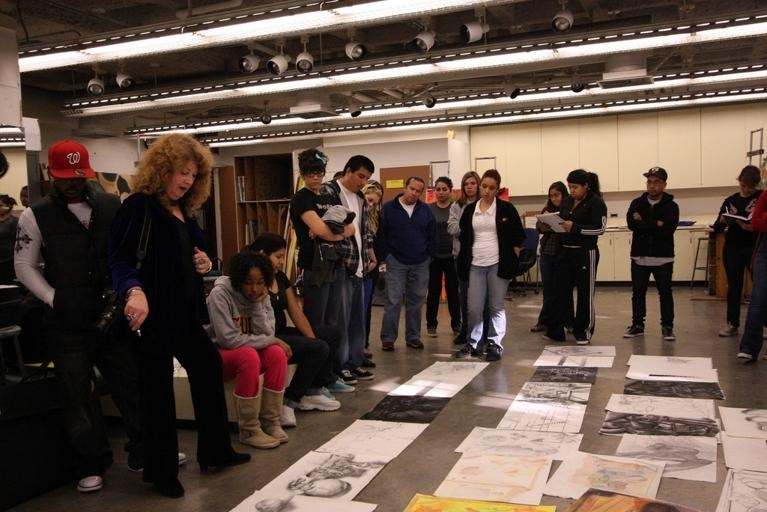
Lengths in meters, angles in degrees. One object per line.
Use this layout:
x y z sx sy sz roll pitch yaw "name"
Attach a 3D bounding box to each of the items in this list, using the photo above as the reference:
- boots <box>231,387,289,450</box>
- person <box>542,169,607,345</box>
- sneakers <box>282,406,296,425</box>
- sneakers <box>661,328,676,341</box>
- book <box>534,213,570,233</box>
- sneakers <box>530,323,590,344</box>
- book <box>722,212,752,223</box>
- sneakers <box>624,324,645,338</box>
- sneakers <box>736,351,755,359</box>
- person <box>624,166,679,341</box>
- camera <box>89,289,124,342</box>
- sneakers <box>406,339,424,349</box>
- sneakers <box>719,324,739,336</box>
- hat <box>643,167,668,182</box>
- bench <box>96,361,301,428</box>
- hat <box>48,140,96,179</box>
-0.907 1.210 4.482 0.437 0.386 0.378 -2 -1 28 "boots"
2.244 0.016 6.784 0.601 2.000 0.584 -7 10 -27 "person"
-0.757 1.253 4.631 0.097 0.148 0.150 -6 -33 -1 "sneakers"
3.273 0.894 6.769 0.128 0.104 0.190 0 9 14 "sneakers"
1.914 -0.372 6.595 0.271 0.071 0.272 36 -15 -29 "book"
2.092 0.928 6.933 0.553 0.221 0.183 8 5 21 "sneakers"
3.753 -0.413 6.276 0.203 0.057 0.184 1 5 -33 "book"
2.978 0.899 7.014 0.354 0.140 0.112 5 -8 -38 "sneakers"
3.584 0.979 5.843 0.142 0.051 0.046 2 4 4 "sneakers"
3.123 -0.022 6.890 0.548 1.992 0.603 1 10 23 "person"
-1.758 0.340 3.717 0.145 0.260 0.382 -8 11 -33 "camera"
0.353 1.029 6.851 0.082 0.083 0.218 1 -3 -39 "sneakers"
4.075 0.879 6.925 0.325 0.127 0.105 1 -3 -14 "sneakers"
3.157 -0.950 6.842 0.198 0.146 0.241 -1 9 6 "hat"
-1.320 0.968 4.131 0.754 0.342 0.506 1 2 2 "bench"
-2.123 -0.671 3.942 0.316 0.158 0.219 34 29 32 "hat"
